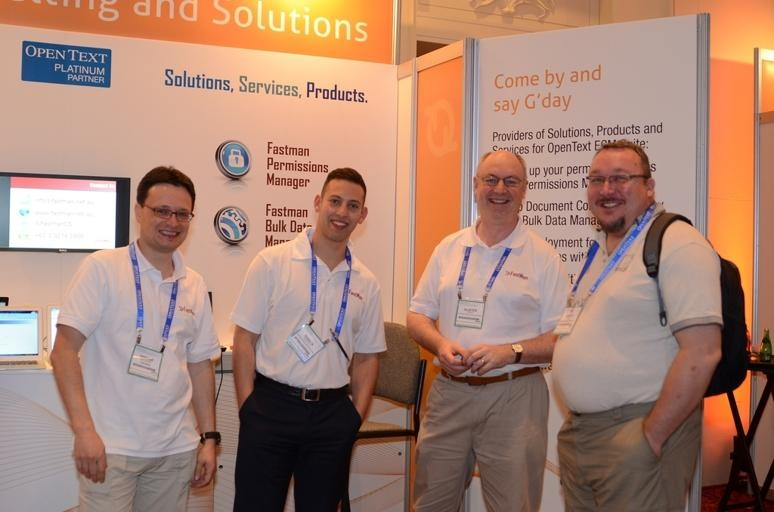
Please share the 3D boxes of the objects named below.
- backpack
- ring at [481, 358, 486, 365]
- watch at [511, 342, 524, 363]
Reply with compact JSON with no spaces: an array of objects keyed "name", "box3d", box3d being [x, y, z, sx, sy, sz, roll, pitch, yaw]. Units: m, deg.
[{"name":"backpack","box3d":[1.578,0.244,3.254,0.516,0.928,0.326,3,5,23]},{"name":"ring","box3d":[0.534,0.584,3.500,0.021,0.022,0.005,-29,-1,2]},{"name":"watch","box3d":[0.728,0.540,3.551,0.058,0.100,0.095,-3,-27,3]}]
